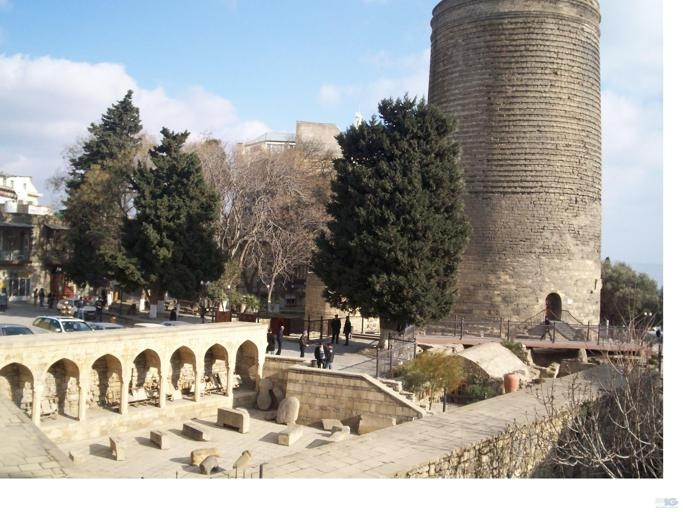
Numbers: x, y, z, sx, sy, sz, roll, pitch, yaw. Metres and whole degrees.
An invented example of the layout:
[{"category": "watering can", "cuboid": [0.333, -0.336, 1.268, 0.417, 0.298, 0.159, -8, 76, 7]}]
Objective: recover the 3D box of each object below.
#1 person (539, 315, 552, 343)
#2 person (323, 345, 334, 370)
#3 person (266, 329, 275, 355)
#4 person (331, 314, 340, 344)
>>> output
[{"category": "person", "cuboid": [10.204, 3.684, 39.407, 0.732, 1.685, 0.815, -5, -21, 27]}, {"category": "person", "cuboid": [-0.579, 4.064, 31.882, 0.406, 0.933, 1.062, 4, -5, -1]}, {"category": "person", "cuboid": [-3.177, 3.801, 34.548, 0.381, 0.930, 0.868, 4, -5, -8]}, {"category": "person", "cuboid": [-0.345, 3.525, 37.573, 0.362, 1.290, 0.512, 4, -5, -6]}]
